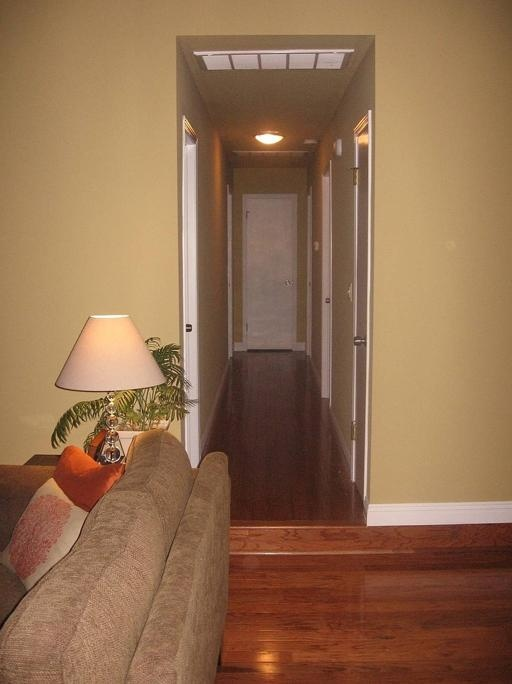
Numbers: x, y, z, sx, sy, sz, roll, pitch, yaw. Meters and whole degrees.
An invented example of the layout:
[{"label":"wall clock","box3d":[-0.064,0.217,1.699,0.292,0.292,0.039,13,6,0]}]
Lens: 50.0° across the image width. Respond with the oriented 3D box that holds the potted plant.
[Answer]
[{"label":"potted plant","box3d":[-0.627,0.375,2.687,0.568,0.895,0.400,-7,4,-41]}]
